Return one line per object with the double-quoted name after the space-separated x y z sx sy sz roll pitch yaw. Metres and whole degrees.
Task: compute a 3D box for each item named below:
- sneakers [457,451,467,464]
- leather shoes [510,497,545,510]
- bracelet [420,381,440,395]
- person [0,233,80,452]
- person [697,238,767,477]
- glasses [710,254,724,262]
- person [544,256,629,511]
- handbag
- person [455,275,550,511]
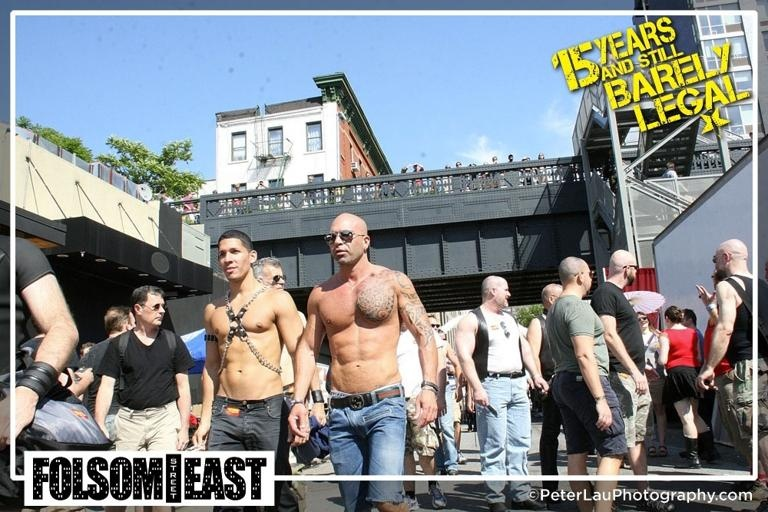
1.525 3.970 15.410 0.151 0.192 0.446 -2 -24 2 "sneakers"
1.974 3.415 10.889 0.480 0.206 0.164 -3 -8 0 "leather shoes"
0.518 1.508 9.013 0.182 0.145 0.152 -2 -13 -5 "bracelet"
-3.500 0.826 7.797 0.830 2.087 0.499 -6 -14 14 "person"
4.761 1.317 10.544 0.943 3.098 0.598 -8 -14 21 "person"
4.947 0.026 11.720 0.163 0.050 0.157 12 -9 0 "glasses"
2.565 1.614 10.192 0.665 3.264 0.787 7 -16 -35 "person"
-3.233 1.589 7.865 0.887 0.855 0.311 2 -38 -40 "handbag"
1.667 1.912 11.177 1.231 3.284 0.593 7 -16 -36 "person"
